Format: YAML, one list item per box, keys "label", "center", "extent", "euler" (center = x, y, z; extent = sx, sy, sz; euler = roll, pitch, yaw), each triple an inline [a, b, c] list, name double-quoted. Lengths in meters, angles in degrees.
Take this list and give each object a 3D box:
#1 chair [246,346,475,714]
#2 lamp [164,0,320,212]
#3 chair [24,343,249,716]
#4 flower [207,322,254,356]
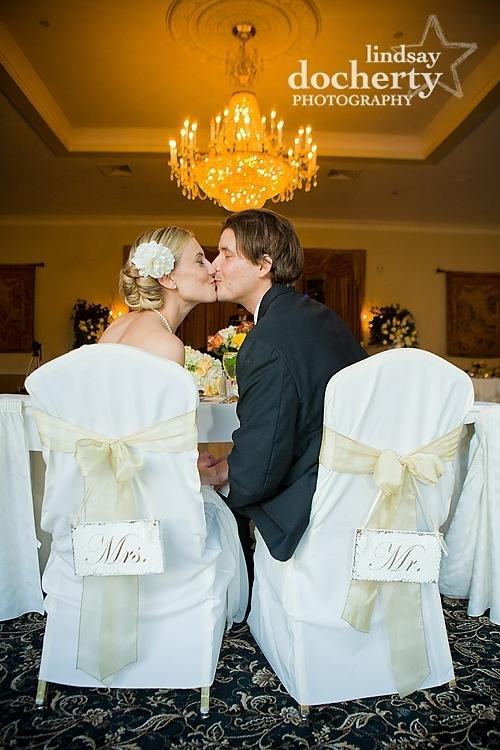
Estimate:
- label: "chair"
  center: [0.285, 0.407, 1.564]
  extent: [0.558, 0.940, 0.356]
  euler: [0, 1, 4]
- label: "lamp"
  center: [-0.039, -1.997, 4.467]
  extent: [0.943, 1.193, 0.911]
  euler: [-1, 8, -5]
- label: "chair"
  center: [-0.302, 0.403, 1.746]
  extent: [0.619, 0.870, 0.657]
  euler: [-2, -1, 8]
- label: "flower"
  center: [-0.086, -0.169, 2.697]
  extent: [0.202, 0.094, 0.203]
  euler: [-13, 12, 35]
